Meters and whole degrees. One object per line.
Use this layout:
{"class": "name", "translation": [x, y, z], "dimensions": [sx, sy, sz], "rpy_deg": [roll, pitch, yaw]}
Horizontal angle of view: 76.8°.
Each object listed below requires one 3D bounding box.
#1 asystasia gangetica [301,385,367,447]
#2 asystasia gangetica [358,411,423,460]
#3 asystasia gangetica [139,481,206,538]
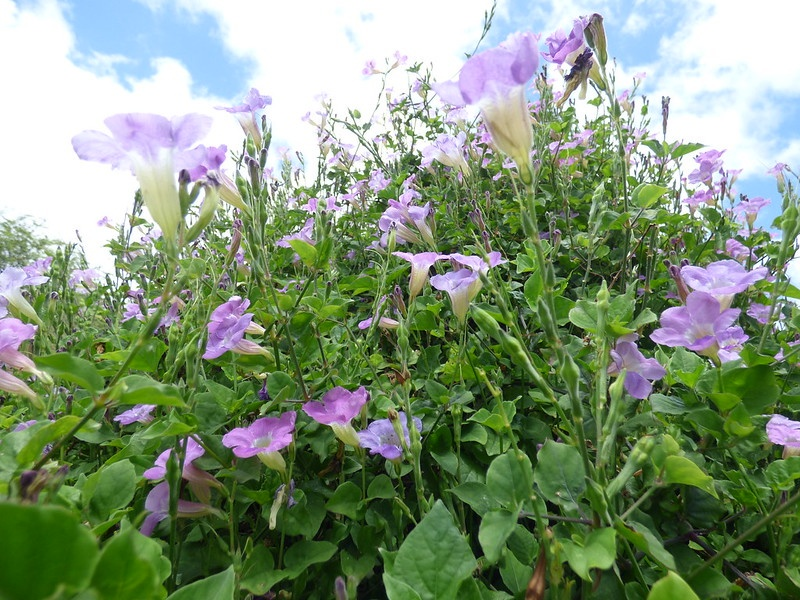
{"class": "asystasia gangetica", "translation": [-0.233, 0.422, 1.974], "dimensions": [0.222, 0.180, 0.222], "rpy_deg": [0, 34, 21]}
{"class": "asystasia gangetica", "translation": [-0.029, 0.536, 1.999], "dimensions": [0.252, 0.169, 0.273], "rpy_deg": [-12, -13, 31]}
{"class": "asystasia gangetica", "translation": [-0.862, 0.746, 1.929], "dimensions": [0.259, 0.241, 0.117], "rpy_deg": [9, 17, 6]}
